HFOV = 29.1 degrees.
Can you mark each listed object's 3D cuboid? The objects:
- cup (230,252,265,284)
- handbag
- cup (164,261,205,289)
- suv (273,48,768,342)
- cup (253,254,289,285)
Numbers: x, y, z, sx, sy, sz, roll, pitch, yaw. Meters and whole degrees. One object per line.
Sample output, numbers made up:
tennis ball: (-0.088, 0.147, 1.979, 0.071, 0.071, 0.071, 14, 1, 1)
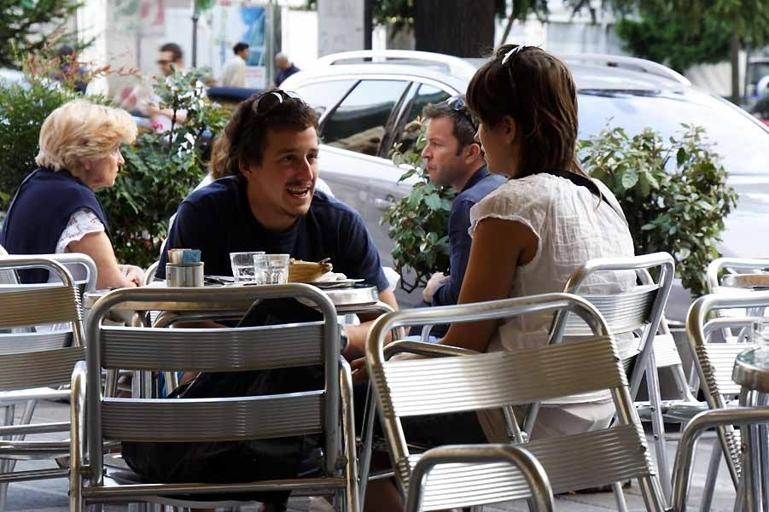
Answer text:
cup: (-0.776, 0.075, 8.154, 0.159, 0.141, 0.176, -1, 2, -10)
handbag: (-0.792, 0.760, 7.818, 0.808, 1.161, 1.089, -1, 1, -22)
cup: (-1.090, 0.114, 7.997, 0.163, 0.129, 0.172, 0, 2, 0)
suv: (1.007, -0.649, 11.348, 3.739, 1.749, 1.854, 0, 4, 40)
cup: (-0.611, 0.083, 7.986, 0.169, 0.139, 0.157, 0, -2, 0)
